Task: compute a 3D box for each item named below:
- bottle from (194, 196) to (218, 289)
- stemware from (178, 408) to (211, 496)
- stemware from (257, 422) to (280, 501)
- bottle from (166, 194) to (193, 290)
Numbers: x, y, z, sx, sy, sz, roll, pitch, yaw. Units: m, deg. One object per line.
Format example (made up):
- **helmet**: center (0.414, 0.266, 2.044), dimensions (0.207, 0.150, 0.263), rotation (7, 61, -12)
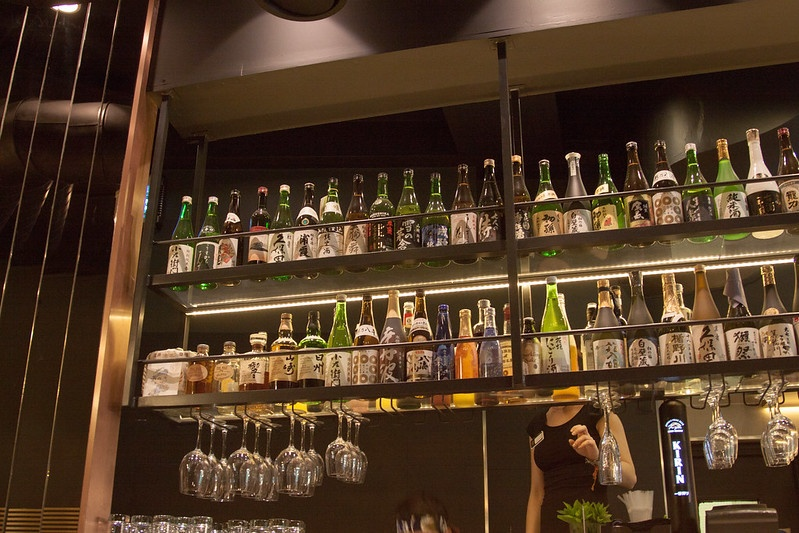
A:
- **bottle**: center (-0.878, -0.122, 3.439), dimensions (0.134, 0.464, 0.120), rotation (1, -30, -7)
- **stemware**: center (-0.849, 0.794, 3.130), dimensions (0.120, 0.321, 0.123), rotation (-26, -40, 37)
- **stemware**: center (-0.562, 0.828, 3.180), dimensions (0.103, 0.287, 0.107), rotation (-5, -17, 18)
- **bottle**: center (-0.996, -0.108, 3.427), dimensions (0.116, 0.461, 0.118), rotation (-2, -26, -1)
